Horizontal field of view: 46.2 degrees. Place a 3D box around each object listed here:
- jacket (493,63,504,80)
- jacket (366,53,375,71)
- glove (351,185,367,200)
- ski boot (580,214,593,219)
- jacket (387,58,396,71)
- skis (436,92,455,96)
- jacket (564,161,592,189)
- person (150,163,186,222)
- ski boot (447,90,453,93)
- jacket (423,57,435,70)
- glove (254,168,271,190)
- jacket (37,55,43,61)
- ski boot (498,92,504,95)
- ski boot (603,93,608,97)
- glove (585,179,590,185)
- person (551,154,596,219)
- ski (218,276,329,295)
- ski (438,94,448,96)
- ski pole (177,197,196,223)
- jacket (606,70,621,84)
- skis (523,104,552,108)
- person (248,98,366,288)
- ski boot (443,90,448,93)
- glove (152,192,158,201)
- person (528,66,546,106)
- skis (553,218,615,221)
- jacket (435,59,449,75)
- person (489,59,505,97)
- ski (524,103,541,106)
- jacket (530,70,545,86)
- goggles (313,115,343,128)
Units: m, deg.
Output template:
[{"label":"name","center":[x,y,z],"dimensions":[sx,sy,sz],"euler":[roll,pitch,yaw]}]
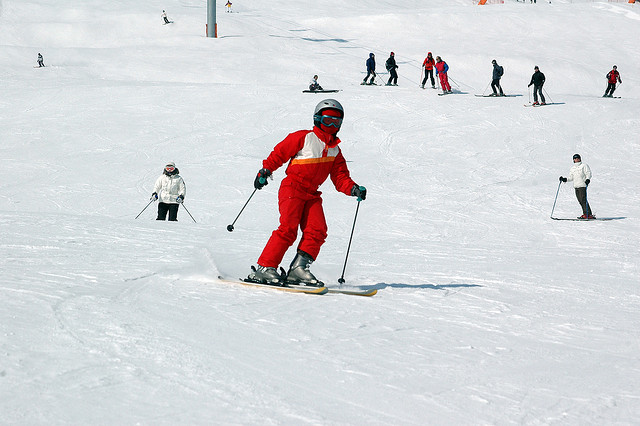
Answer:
[{"label":"jacket","center":[6.053,-4.776,25.531],"dimensions":[0.286,0.479,0.467],"euler":[4,18,12]},{"label":"jacket","center":[1.856,-5.461,27.339],"dimensions":[0.252,0.613,0.251],"euler":[-1,19,-5]},{"label":"glove","center":[0.565,-0.250,9.979],"dimensions":[0.222,0.189,0.161],"euler":[-10,-30,35]},{"label":"ski boot","center":[5.430,0.078,15.279],"dimensions":[0.202,0.051,0.103],"euler":[-5,12,-11]},{"label":"jacket","center":[2.677,-5.527,27.926],"dimensions":[0.308,0.434,0.333],"euler":[1,18,2]},{"label":"skis","center":[4.473,-4.111,26.078],"dimensions":[0.119,0.155,1.441],"euler":[-10,2,34]},{"label":"jacket","center":[5.509,-0.791,15.956],"dimensions":[0.425,0.525,0.496],"euler":[6,19,18]},{"label":"person","center":[-2.921,-0.329,14.433],"dimensions":[0.632,1.117,0.729],"euler":[-4,19,-11]},{"label":"ski boot","center":[4.510,-4.195,26.012],"dimensions":[0.112,0.106,0.274],"euler":[6,17,17]},{"label":"jacket","center":[3.975,-5.382,27.177],"dimensions":[0.364,0.444,0.493],"euler":[2,17,6]},{"label":"glove","center":[-0.765,-0.434,9.770],"dimensions":[0.224,0.266,0.110],"euler":[33,-1,-10]},{"label":"jacket","center":[-10.438,-5.773,28.097],"dimensions":[0.238,0.090,0.288],"euler":[7,-16,-26]},{"label":"ski boot","center":[6.291,-4.130,26.127],"dimensions":[0.267,0.072,0.230],"euler":[0,2,0]},{"label":"ski boot","center":[10.116,-4.148,26.557],"dimensions":[0.204,0.057,0.273],"euler":[3,19,18]},{"label":"glove","center":[5.675,-0.658,15.851],"dimensions":[0.109,0.134,0.098],"euler":[-4,9,-10]},{"label":"person","center":[5.470,-0.568,15.723],"dimensions":[0.705,1.128,1.383],"euler":[6,18,16]},{"label":"ski","center":[-0.613,0.928,9.575],"dimensions":[1.130,0.073,0.114],"euler":[6,13,13]},{"label":"ski","center":[4.121,-3.999,25.538],"dimensions":[0.216,0.017,0.365],"euler":[7,17,24]},{"label":"ski pole","center":[-2.668,-0.039,14.973],"dimensions":[0.053,0.632,0.093],"euler":[-42,13,9]},{"label":"jacket","center":[10.431,-4.832,26.766],"dimensions":[0.466,0.472,0.509],"euler":[4,8,7]},{"label":"skis","center":[6.936,-3.440,24.157],"dimensions":[0.775,0.063,0.178],"euler":[2,28,-17]},{"label":"person","center":[-0.221,-0.260,9.811],"dimensions":[1.466,2.329,0.901],"euler":[-15,24,-38]},{"label":"ski boot","center":[4.357,-4.191,25.934],"dimensions":[0.119,0.088,0.276],"euler":[4,16,11]},{"label":"glove","center":[-3.149,-0.314,14.354],"dimensions":[0.100,0.165,0.170],"euler":[-4,18,-11]},{"label":"person","center":[7.211,-4.218,24.722],"dimensions":[0.556,1.194,2.016],"euler":[5,17,14]},{"label":"skis","center":[5.362,0.134,15.206],"dimensions":[1.170,0.032,0.249],"euler":[1,15,2]},{"label":"jacket","center":[4.253,-5.052,26.178],"dimensions":[0.366,0.459,0.472],"euler":[2,18,4]},{"label":"person","center":[6.225,-4.683,26.155],"dimensions":[0.503,1.228,1.625],"euler":[5,18,13]},{"label":"ski","center":[6.871,-3.472,24.204],"dimensions":[0.058,0.098,0.448],"euler":[13,-4,-31]},{"label":"jacket","center":[6.966,-4.274,24.000],"dimensions":[0.353,0.426,0.617],"euler":[6,18,18]},{"label":"goggles","center":[0.111,-1.209,9.897],"dimensions":[0.364,0.167,0.141],"euler":[0,18,-3]}]
